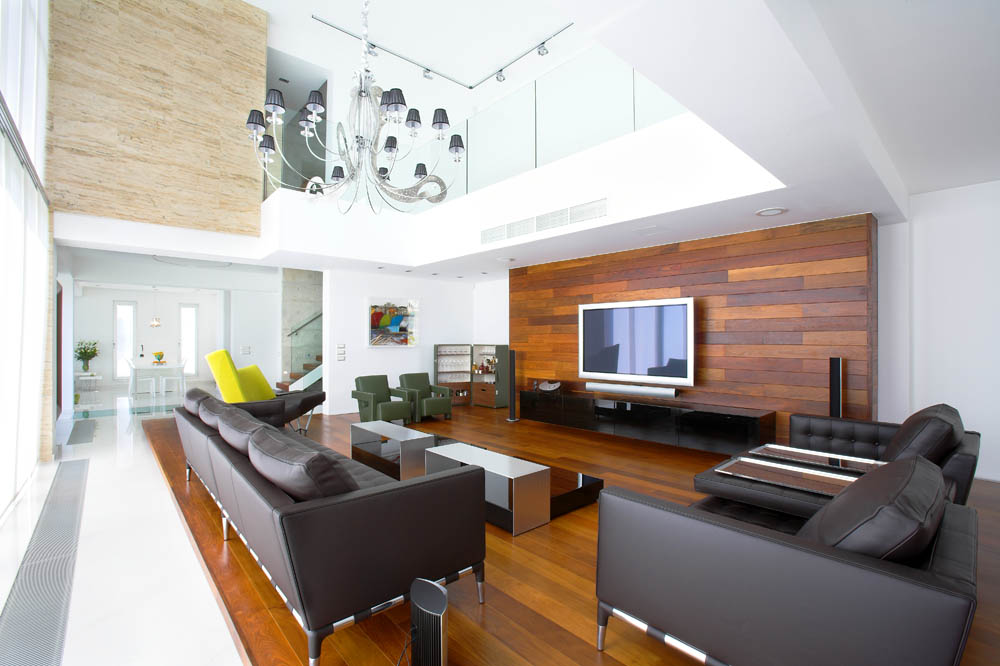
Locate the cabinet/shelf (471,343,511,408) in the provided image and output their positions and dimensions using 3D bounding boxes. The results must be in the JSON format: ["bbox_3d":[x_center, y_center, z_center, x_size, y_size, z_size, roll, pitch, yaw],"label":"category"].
[{"bbox_3d":[-0.161,0.836,11.510,0.563,1.579,1.136,2,-3,-27],"label":"cabinet/shelf"}]

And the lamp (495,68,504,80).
[{"bbox_3d":[-0.027,-4.112,9.852,0.114,0.183,0.067,-6,-12,7],"label":"lamp"}]

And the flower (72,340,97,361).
[{"bbox_3d":[-9.776,0.427,14.770,0.468,0.539,0.534,4,-6,-33],"label":"flower"}]

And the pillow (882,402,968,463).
[{"bbox_3d":[3.619,0.881,5.344,0.234,0.588,0.613,24,18,29],"label":"pillow"}]

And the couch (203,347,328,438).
[{"bbox_3d":[-3.438,0.897,9.075,1.514,1.463,1.003,-5,10,-33],"label":"couch"}]

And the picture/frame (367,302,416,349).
[{"bbox_3d":[-2.041,-0.132,11.440,0.892,0.754,0.121,0,1,-43],"label":"picture/frame"}]

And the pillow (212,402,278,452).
[{"bbox_3d":[-2.246,0.719,5.450,0.547,0.149,0.322,11,22,44],"label":"pillow"}]

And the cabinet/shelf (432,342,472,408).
[{"bbox_3d":[-0.955,0.849,12.328,0.710,1.188,0.310,-6,8,-14],"label":"cabinet/shelf"}]

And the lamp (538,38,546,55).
[{"bbox_3d":[0.586,-4.189,9.177,0.114,0.188,0.190,-2,3,-39],"label":"lamp"}]
